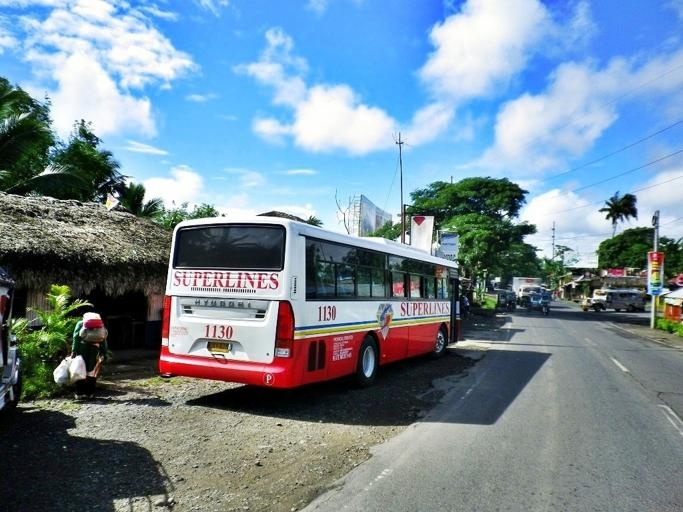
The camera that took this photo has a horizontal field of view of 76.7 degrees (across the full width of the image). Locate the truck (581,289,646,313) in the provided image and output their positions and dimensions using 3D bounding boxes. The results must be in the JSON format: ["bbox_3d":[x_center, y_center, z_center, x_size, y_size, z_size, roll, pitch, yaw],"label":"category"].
[{"bbox_3d":[35.468,5.638,55.678,7.107,2.784,2.904,2,-3,-8],"label":"truck"}]

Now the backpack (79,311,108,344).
[{"bbox_3d":[-4.811,1.380,8.458,0.439,0.592,0.603,4,0,-12],"label":"backpack"}]

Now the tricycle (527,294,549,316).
[{"bbox_3d":[19.741,4.841,42.797,1.406,1.263,2.247,4,7,40],"label":"tricycle"}]
